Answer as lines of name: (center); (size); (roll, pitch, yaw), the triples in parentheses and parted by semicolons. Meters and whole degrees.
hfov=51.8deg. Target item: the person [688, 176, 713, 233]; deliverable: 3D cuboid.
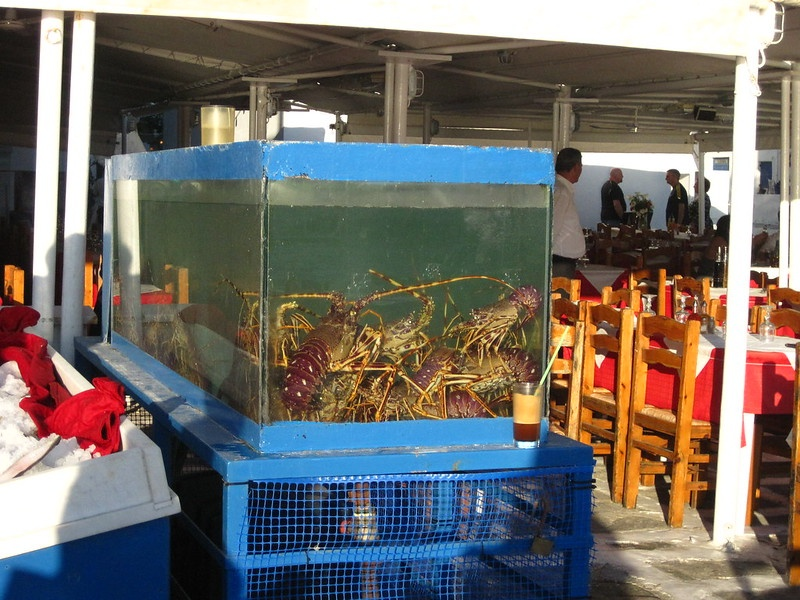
person: (6.329, -1.896, 17.260); (0.572, 1.314, 0.515); (-7, 26, 2)

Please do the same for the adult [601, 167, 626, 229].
adult: (3.476, -1.661, 13.333); (0.391, 0.932, 1.284); (4, 11, 14)

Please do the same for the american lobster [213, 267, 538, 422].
american lobster: (0.017, 0.205, 2.932); (0.774, 0.280, 0.646); (0, 37, -5)

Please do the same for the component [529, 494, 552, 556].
component: (0.512, 0.816, 2.963); (0.077, 0.186, 0.108); (3, 10, 10)

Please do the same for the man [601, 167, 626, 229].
man: (3.475, -1.662, 13.345); (0.393, 0.929, 1.203); (4, 11, 15)
